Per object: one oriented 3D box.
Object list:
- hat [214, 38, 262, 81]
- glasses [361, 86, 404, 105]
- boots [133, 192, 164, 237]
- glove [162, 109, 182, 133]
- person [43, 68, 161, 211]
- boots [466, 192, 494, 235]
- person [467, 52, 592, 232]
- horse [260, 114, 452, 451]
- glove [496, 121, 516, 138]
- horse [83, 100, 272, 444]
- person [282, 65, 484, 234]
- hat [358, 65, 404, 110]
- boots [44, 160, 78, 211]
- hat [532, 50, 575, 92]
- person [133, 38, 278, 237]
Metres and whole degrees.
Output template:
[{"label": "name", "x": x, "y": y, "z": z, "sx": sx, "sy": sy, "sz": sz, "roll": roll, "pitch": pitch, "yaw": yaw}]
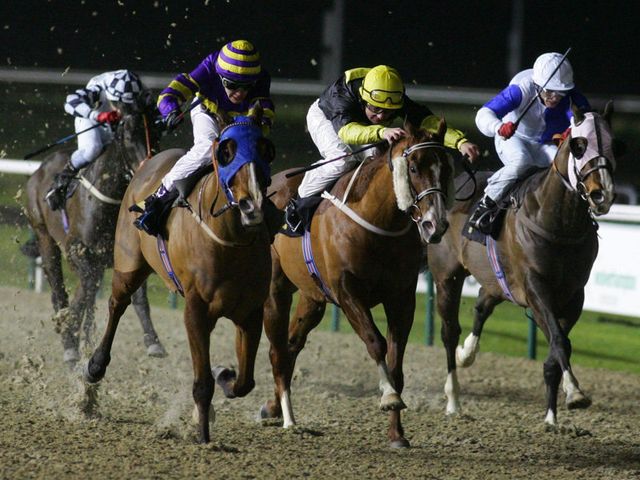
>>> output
[{"label": "hat", "x": -0.620, "y": -1.452, "z": 8.510, "sx": 0.358, "sy": 0.279, "sz": 0.391, "roll": 9, "pitch": 24, "yaw": -4}, {"label": "glasses", "x": 0.499, "y": -1.125, "z": 8.473, "sx": 0.327, "sy": 0.148, "sz": 0.146, "roll": 2, "pitch": 10, "yaw": -1}, {"label": "boots", "x": -1.311, "y": -0.178, "z": 8.455, "sx": 0.262, "sy": 0.295, "sz": 0.111, "roll": 31, "pitch": -21, "yaw": 5}, {"label": "glove", "x": -1.212, "y": -0.979, "z": 8.919, "sx": 0.171, "sy": 0.090, "sz": 0.284, "roll": -8, "pitch": -10, "yaw": -30}, {"label": "person", "x": -2.048, "y": -0.927, "z": 10.154, "sx": 0.779, "sy": 1.158, "sz": 1.712, "roll": 10, "pitch": -14, "yaw": -28}, {"label": "boots", "x": 1.387, "y": -0.230, "z": 9.219, "sx": 0.246, "sy": 0.097, "sz": 0.188, "roll": -30, "pitch": -4, "yaw": 12}, {"label": "person", "x": 1.781, "y": -0.819, "z": 9.179, "sx": 0.856, "sy": 1.526, "sz": 0.868, "roll": 8, "pitch": -1, "yaw": -17}, {"label": "horse", "x": 0.212, "y": 0.508, "z": 9.065, "sx": 0.779, "sy": 2.560, "sz": 3.426, "roll": 3, "pitch": -5, "yaw": -26}, {"label": "glove", "x": 1.545, "y": -0.912, "z": 8.899, "sx": 0.144, "sy": 0.160, "sz": 0.250, "roll": 4, "pitch": 11, "yaw": 9}, {"label": "horse", "x": -0.906, "y": 0.220, "z": 8.450, "sx": 0.609, "sy": 2.616, "sz": 1.588, "roll": -7, "pitch": 13, "yaw": -44}, {"label": "person", "x": 0.412, "y": -0.823, "z": 8.877, "sx": 0.975, "sy": 1.222, "sz": 1.722, "roll": -13, "pitch": 4, "yaw": -35}, {"label": "hat", "x": 0.517, "y": -1.261, "z": 8.537, "sx": 0.345, "sy": 0.252, "sz": 0.464, "roll": 0, "pitch": 33, "yaw": -15}, {"label": "boots", "x": -2.317, "y": -0.490, "z": 9.832, "sx": 0.098, "sy": 0.220, "sz": 0.433, "roll": 35, "pitch": 47, "yaw": -10}, {"label": "hat", "x": 2.013, "y": -1.434, "z": 9.125, "sx": 0.417, "sy": 0.257, "sz": 0.340, "roll": -8, "pitch": 20, "yaw": -5}, {"label": "person", "x": -0.806, "y": -0.792, "z": 8.730, "sx": 1.064, "sy": 1.690, "sz": 0.643, "roll": 9, "pitch": 8, "yaw": -29}]
